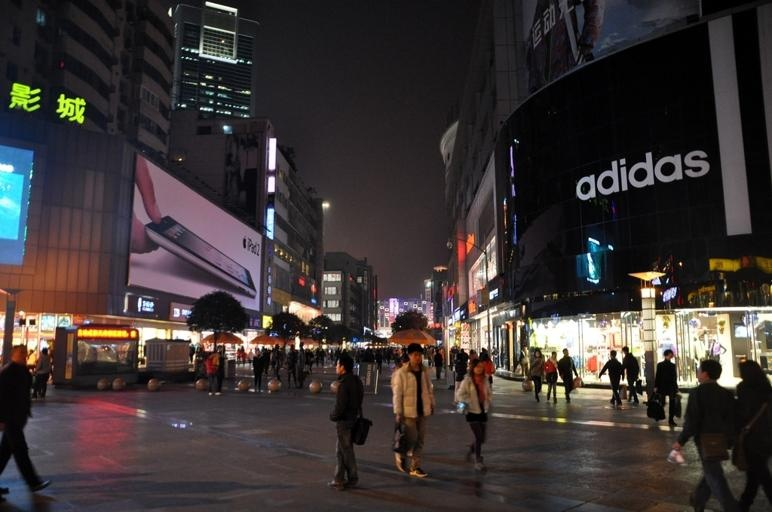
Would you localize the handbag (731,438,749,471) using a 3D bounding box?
[{"bbox_3d":[7.167,4.060,12.098,0.260,0.587,0.217,-4,-13,25],"label":"handbag"}]

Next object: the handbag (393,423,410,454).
[{"bbox_3d":[0.372,4.468,14.541,0.370,0.719,0.217,1,-12,2],"label":"handbag"}]

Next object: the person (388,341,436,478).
[{"bbox_3d":[0.488,3.865,15.039,1.158,3.084,1.169,8,-12,-39],"label":"person"}]

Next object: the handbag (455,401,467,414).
[{"bbox_3d":[1.956,3.890,15.320,0.251,0.270,0.383,-1,-13,10],"label":"handbag"}]

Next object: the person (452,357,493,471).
[{"bbox_3d":[2.247,4.048,15.320,0.829,2.714,0.535,-1,-12,9],"label":"person"}]

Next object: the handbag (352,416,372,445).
[{"bbox_3d":[-0.592,4.106,13.954,0.404,0.576,0.316,2,-12,-6],"label":"handbag"}]

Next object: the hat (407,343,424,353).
[{"bbox_3d":[0.743,2.318,14.863,0.345,0.238,0.258,4,-13,-11],"label":"hat"}]

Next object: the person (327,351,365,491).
[{"bbox_3d":[-0.949,3.942,14.311,0.705,3.063,1.085,2,-12,-5],"label":"person"}]
